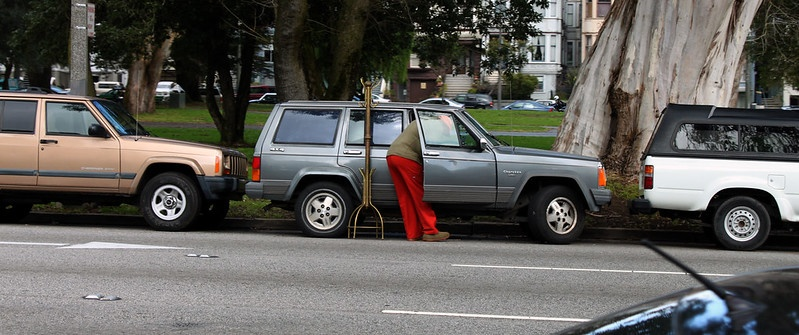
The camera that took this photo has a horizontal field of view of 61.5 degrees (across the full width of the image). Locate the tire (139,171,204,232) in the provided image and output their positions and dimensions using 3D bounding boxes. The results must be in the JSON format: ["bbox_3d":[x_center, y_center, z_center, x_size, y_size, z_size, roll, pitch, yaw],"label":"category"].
[{"bbox_3d":[-7.489,1.148,22.358,2.390,1.966,0.793,2,-2,23],"label":"tire"}]

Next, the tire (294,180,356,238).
[{"bbox_3d":[-2.377,1.300,21.782,2.238,1.815,0.708,1,4,2],"label":"tire"}]

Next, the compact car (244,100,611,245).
[{"bbox_3d":[0.893,0.006,23.576,11.260,3.666,4.967,-1,2,2],"label":"compact car"}]

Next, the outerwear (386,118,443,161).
[{"bbox_3d":[0.632,-0.947,21.616,1.920,1.438,0.508,-3,12,-30],"label":"outerwear"}]

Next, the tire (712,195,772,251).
[{"bbox_3d":[10.896,1.694,21.342,2.021,1.651,0.636,-6,0,4],"label":"tire"}]
